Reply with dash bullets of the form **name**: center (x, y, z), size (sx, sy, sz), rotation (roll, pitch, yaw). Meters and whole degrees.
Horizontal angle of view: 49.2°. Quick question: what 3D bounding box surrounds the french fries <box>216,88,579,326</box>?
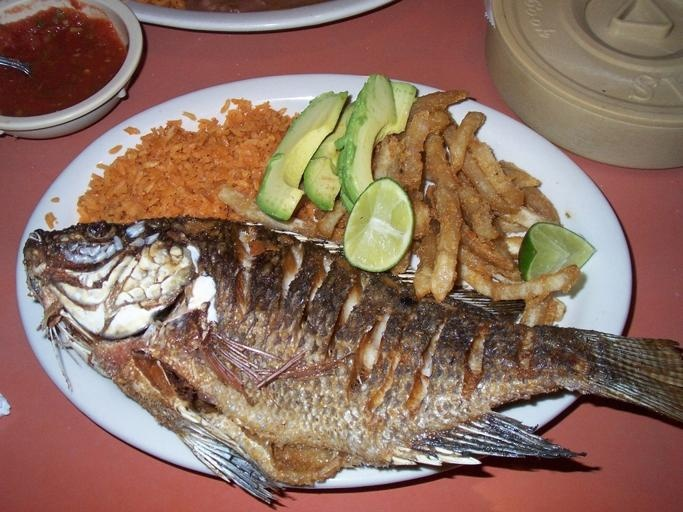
- **french fries**: center (0.323, -0.234, 2.743), size (1.175, 0.212, 0.880), rotation (32, 78, 20)
